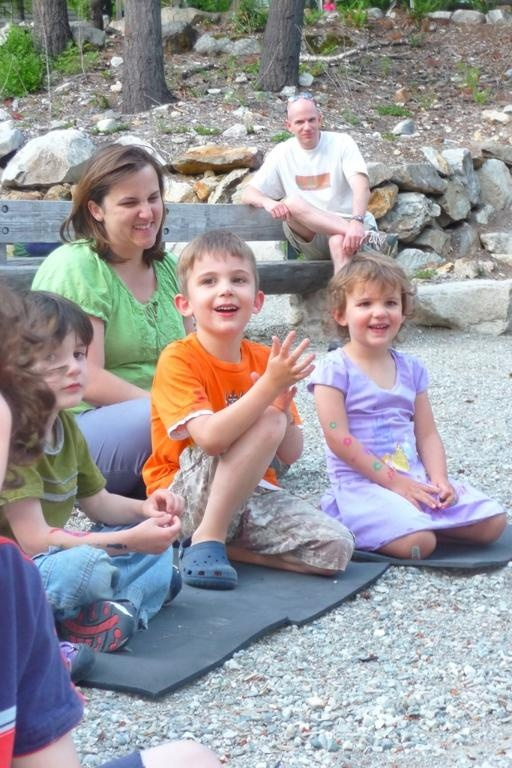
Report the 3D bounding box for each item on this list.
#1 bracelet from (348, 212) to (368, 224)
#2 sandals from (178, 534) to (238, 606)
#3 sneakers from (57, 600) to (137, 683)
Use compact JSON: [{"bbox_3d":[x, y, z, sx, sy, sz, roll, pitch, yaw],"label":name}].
[{"bbox_3d":[0.653,-1.043,5.089,0.141,0.044,0.101,-5,4,-22],"label":"bracelet"},{"bbox_3d":[-0.148,0.482,2.226,0.143,0.087,0.252,0,4,-25],"label":"sandals"},{"bbox_3d":[-0.302,0.524,1.724,0.239,0.081,0.102,-30,-1,-4],"label":"sneakers"}]
